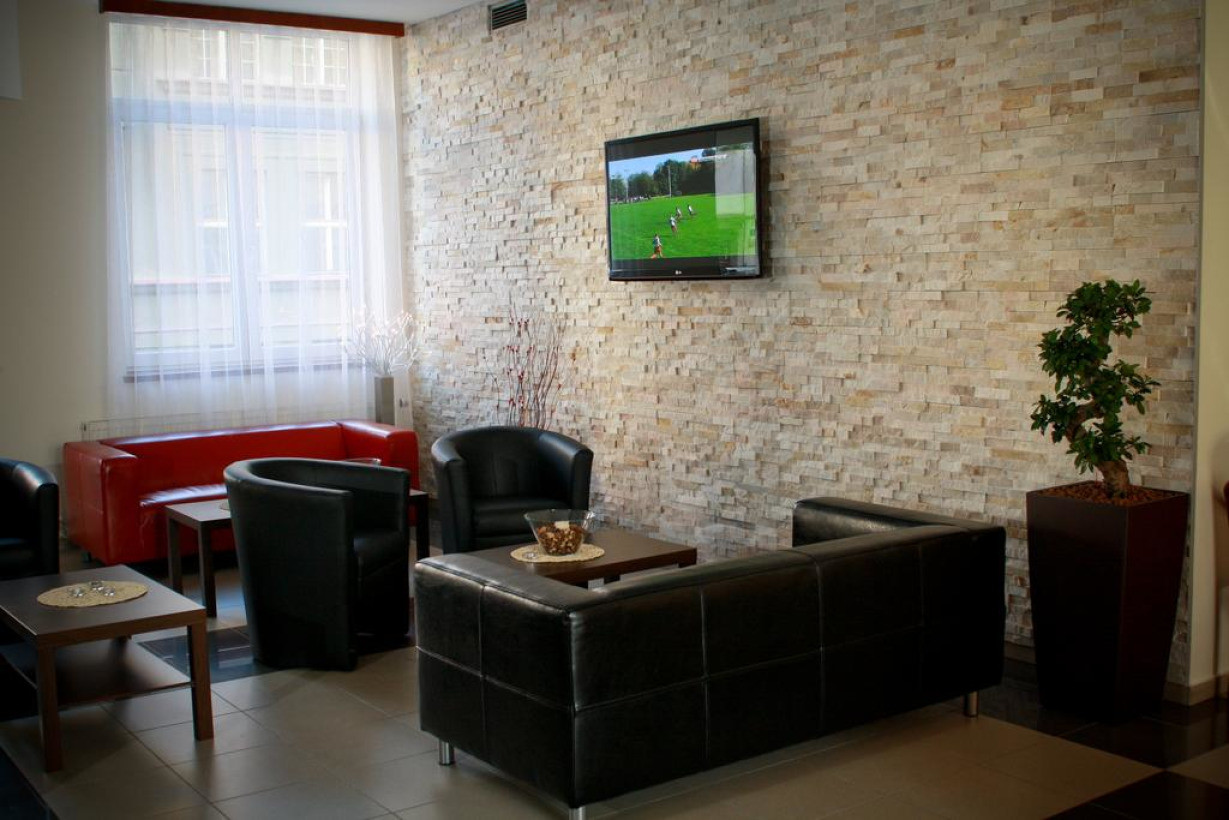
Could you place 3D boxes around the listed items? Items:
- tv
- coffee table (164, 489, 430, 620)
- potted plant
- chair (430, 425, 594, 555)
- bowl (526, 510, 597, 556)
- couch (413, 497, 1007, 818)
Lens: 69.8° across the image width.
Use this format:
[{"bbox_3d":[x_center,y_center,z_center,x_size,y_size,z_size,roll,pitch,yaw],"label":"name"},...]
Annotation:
[{"bbox_3d":[0.549,-1.491,6.185,1.390,0.967,0.142,1,5,41],"label":"tv"},{"bbox_3d":[-1.876,0.874,5.302,0.509,0.433,0.959,6,8,44],"label":"coffee table"},{"bbox_3d":[2.419,0.448,4.355,0.705,2.153,0.447,4,11,29],"label":"potted plant"},{"bbox_3d":[-0.812,0.554,6.615,1.140,0.945,0.946,0,-3,-23],"label":"chair"},{"bbox_3d":[-0.292,0.696,4.972,0.308,0.147,0.300,0,0,0],"label":"bowl"},{"bbox_3d":[0.515,1.036,3.955,2.490,0.835,0.730,-4,10,-21],"label":"couch"}]
